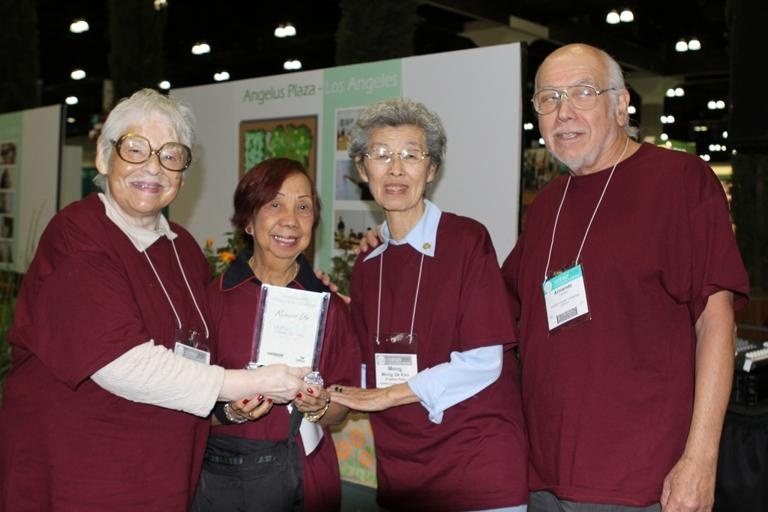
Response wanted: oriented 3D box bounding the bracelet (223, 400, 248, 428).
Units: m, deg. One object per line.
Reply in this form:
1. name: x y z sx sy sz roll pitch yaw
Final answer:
1. bracelet: -0.772 0.833 3.169 0.119 0.067 0.163 18 -24 -24

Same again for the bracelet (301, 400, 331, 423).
1. bracelet: -0.365 0.860 3.294 0.053 0.137 0.120 40 36 2
